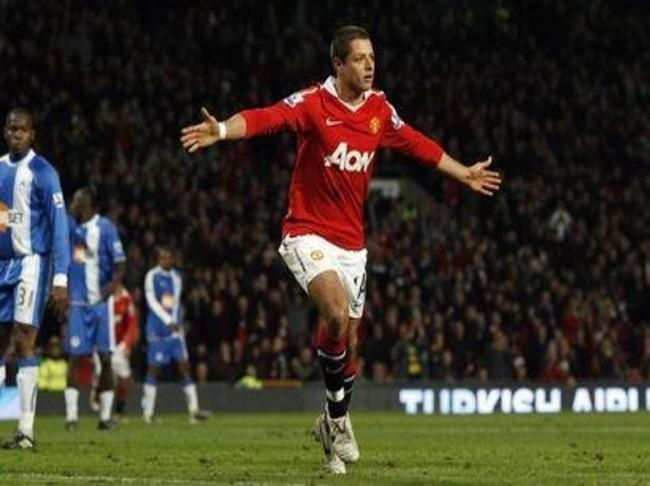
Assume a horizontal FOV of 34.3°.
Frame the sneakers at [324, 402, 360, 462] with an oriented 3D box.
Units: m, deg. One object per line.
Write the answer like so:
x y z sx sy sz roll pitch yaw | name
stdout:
0.159 1.974 10.782 0.199 0.636 0.258 -11 -45 -13 | sneakers

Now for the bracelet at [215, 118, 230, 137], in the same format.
-1.067 -1.152 10.660 0.097 0.207 0.204 -1 -6 -7 | bracelet

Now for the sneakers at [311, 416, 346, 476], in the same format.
0.002 2.100 10.812 0.205 0.639 0.281 -21 -31 -16 | sneakers

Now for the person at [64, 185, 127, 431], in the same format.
-3.204 0.885 14.484 0.754 3.341 1.426 0 -6 -16 | person

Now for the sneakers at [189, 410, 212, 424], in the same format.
-1.877 2.569 15.504 0.397 0.148 0.235 -12 -20 6 | sneakers

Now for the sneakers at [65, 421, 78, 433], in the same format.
-3.547 2.547 14.587 0.107 0.167 0.062 3 -13 -20 | sneakers
